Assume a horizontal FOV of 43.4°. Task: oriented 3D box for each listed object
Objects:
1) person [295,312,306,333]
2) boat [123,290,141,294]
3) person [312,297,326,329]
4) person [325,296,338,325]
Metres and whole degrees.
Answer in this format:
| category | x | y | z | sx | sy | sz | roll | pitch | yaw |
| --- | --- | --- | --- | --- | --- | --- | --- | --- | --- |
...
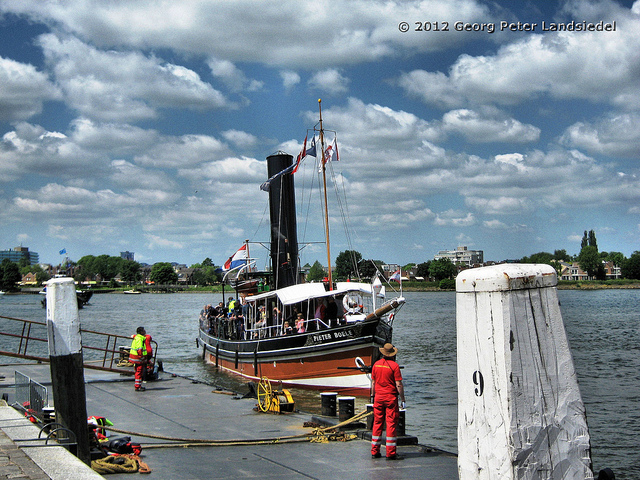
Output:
| category | x | y | z | sx | sy | sz | roll | pitch | yaw |
| --- | --- | --- | --- | --- | --- | --- | --- | --- | --- |
| person | -0.768 | 3.301 | 32.097 | 0.358 | 0.756 | 0.716 | -2 | -4 | -6 |
| boat | -52.059 | 14.448 | 222.813 | 3.821 | 1.027 | 6.823 | -1 | -4 | -24 |
| person | -0.032 | 2.858 | 31.822 | 0.515 | 1.159 | 1.136 | -3 | -4 | -1 |
| person | 0.445 | 2.799 | 32.434 | 0.173 | 1.018 | 0.674 | -6 | -5 | 42 |
